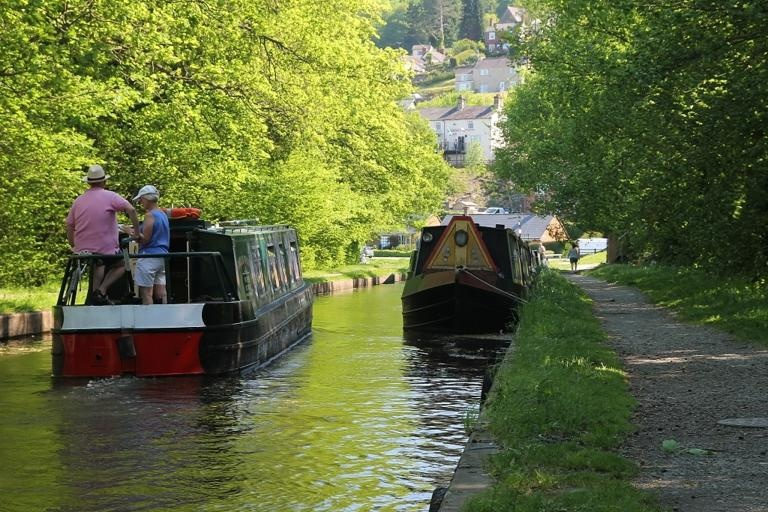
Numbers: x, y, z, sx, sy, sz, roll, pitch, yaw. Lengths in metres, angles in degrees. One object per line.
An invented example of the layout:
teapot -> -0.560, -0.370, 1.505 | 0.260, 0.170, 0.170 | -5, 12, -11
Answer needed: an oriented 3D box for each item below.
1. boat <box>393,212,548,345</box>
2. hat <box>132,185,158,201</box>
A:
boat -> 2.482, 0.535, 28.468 | 3.656, 3.412, 3.251 | 0, -3, -1
hat -> -4.935, -1.311, 20.160 | 0.641, 0.277, 0.400 | 1, -1, 3
